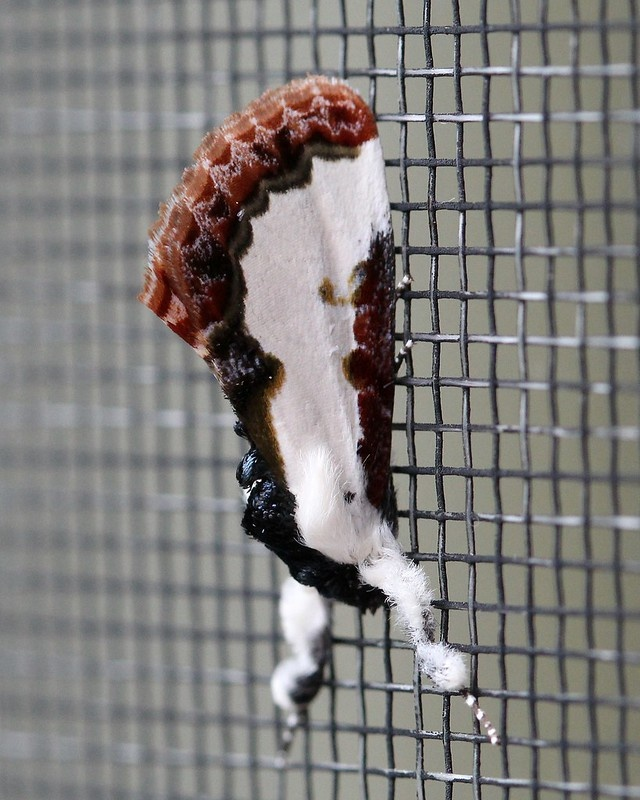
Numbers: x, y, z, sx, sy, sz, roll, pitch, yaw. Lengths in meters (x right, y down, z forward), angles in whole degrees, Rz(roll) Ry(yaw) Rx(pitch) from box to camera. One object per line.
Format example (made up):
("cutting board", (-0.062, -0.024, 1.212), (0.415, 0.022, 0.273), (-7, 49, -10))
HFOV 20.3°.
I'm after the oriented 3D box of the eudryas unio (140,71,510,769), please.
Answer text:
("eudryas unio", (0.009, 0.010, 1.111), (0.224, 0.100, 0.403), (0, 96, 32))
